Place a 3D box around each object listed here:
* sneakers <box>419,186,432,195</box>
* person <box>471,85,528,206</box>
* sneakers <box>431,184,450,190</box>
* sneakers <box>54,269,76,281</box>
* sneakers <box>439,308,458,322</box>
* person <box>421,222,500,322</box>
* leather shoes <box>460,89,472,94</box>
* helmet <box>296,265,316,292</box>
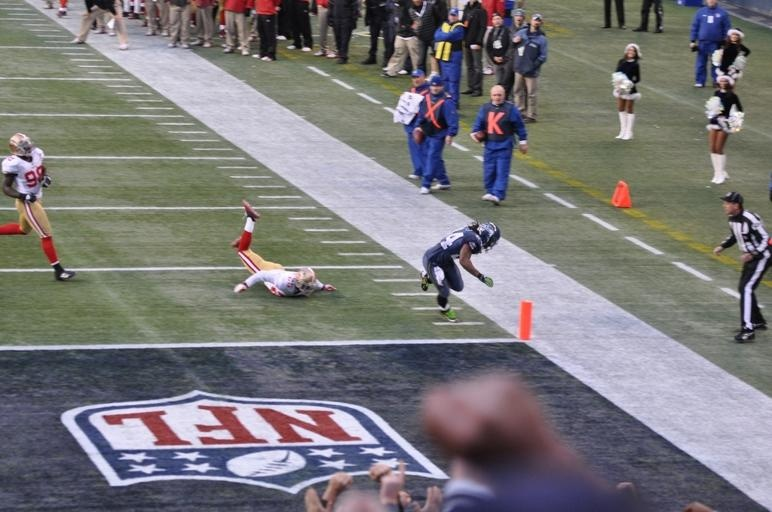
[{"bbox_3d":[0.824,-1.328,30.927,0.148,0.080,0.255,6,14,10],"label":"sneakers"},{"bbox_3d":[2.287,-2.199,30.353,1.026,2.358,1.032,-5,26,-7],"label":"person"},{"bbox_3d":[1.169,-1.396,31.123,0.399,0.113,0.089,1,52,-10],"label":"sneakers"},{"bbox_3d":[-5.399,0.327,26.291,0.493,0.153,0.115,-3,47,-3],"label":"sneakers"},{"bbox_3d":[1.082,0.987,25.636,0.411,0.102,0.188,16,-32,-42],"label":"sneakers"},{"bbox_3d":[1.300,0.234,25.732,1.238,1.578,0.969,-4,25,-6],"label":"person"},{"bbox_3d":[2.028,-4.058,37.797,0.238,0.115,0.446,-2,17,-4],"label":"leather shoes"},{"bbox_3d":[-1.322,0.433,26.116,0.342,0.482,0.191,-3,26,-3],"label":"helmet"}]
